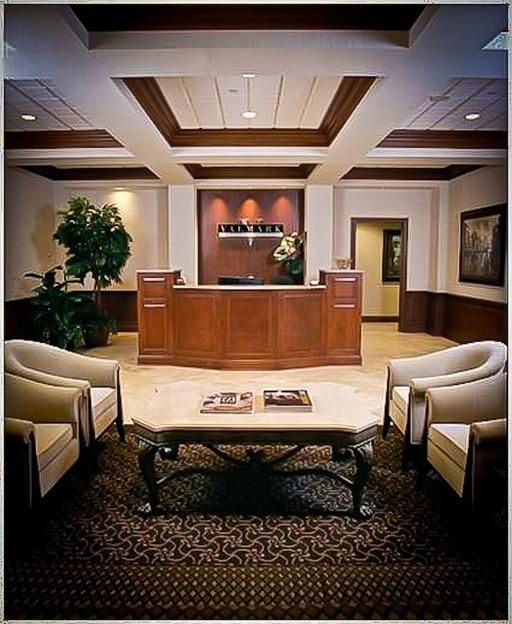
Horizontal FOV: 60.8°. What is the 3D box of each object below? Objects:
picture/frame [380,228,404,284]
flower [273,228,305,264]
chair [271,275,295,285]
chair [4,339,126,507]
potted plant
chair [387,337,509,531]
[{"bbox_3d":[2.736,-1.148,8.860,0.399,1.084,0.164,-2,7,-9],"label":"picture/frame"},{"bbox_3d":[0.500,-0.968,6.585,0.434,0.430,0.218,1,7,9],"label":"flower"},{"bbox_3d":[0.345,-0.417,5.820,0.202,0.100,0.554,1,7,14],"label":"chair"},{"bbox_3d":[-0.916,0.541,2.092,0.356,0.391,0.713,2,7,3],"label":"chair"},{"bbox_3d":[-2.443,-0.547,6.199,1.288,2.118,1.656,-1,7,-2],"label":"potted plant"},{"bbox_3d":[0.873,0.563,1.992,0.280,0.403,0.774,1,4,3],"label":"chair"}]
